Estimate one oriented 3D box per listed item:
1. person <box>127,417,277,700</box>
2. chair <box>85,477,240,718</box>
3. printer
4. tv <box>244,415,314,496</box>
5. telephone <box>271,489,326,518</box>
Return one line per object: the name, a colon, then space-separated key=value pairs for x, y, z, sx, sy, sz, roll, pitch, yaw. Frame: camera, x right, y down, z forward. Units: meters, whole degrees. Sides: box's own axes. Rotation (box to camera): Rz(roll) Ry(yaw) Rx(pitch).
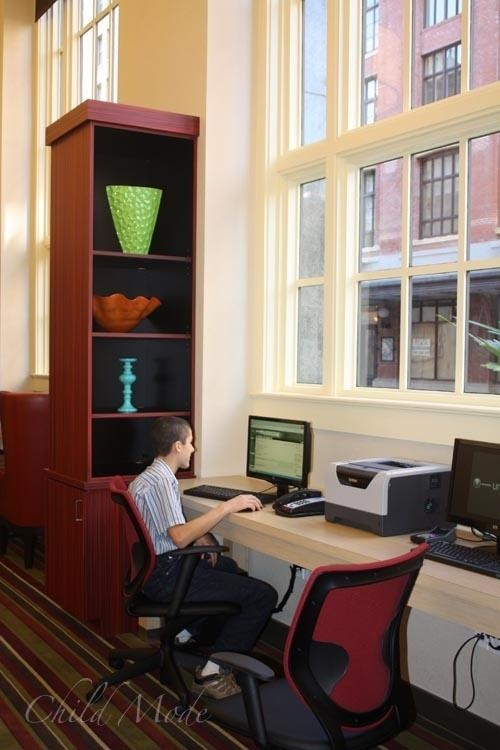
person: x=-0.197 y=0.731 z=2.337 sx=0.544 sy=1.054 sz=0.430 roll=1 pitch=-7 yaw=-19
chair: x=-0.344 y=0.877 z=2.370 sx=0.492 sy=0.782 sz=0.527 roll=3 pitch=-6 yaw=-5
printer: x=0.468 y=0.364 z=1.915 sx=0.270 sy=0.183 sz=0.263 roll=1 pitch=0 yaw=-33
tv: x=0.130 y=0.370 z=2.571 sx=0.068 sy=0.363 sz=0.394 roll=3 pitch=-2 yaw=-40
telephone: x=0.198 y=0.485 z=2.187 sx=0.129 sy=0.058 sz=0.097 roll=3 pitch=-5 yaw=-26
